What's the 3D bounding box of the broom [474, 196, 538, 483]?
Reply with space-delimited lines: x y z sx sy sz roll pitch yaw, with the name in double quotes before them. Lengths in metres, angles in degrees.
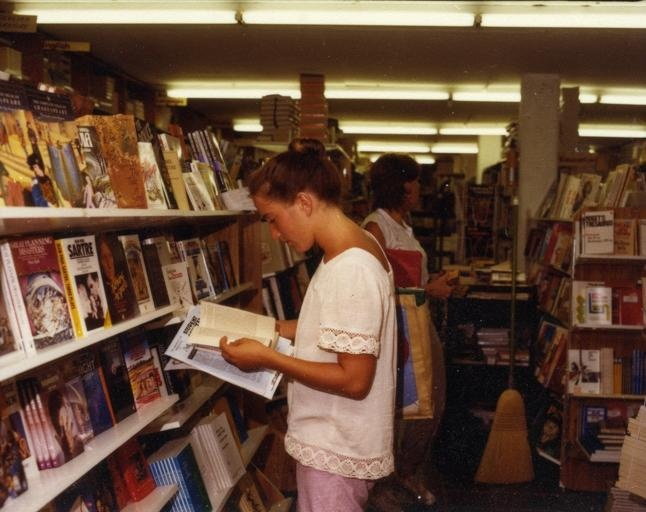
"broom" 1.022 0.753 3.998 0.399 1.673 1.037 5 9 9
